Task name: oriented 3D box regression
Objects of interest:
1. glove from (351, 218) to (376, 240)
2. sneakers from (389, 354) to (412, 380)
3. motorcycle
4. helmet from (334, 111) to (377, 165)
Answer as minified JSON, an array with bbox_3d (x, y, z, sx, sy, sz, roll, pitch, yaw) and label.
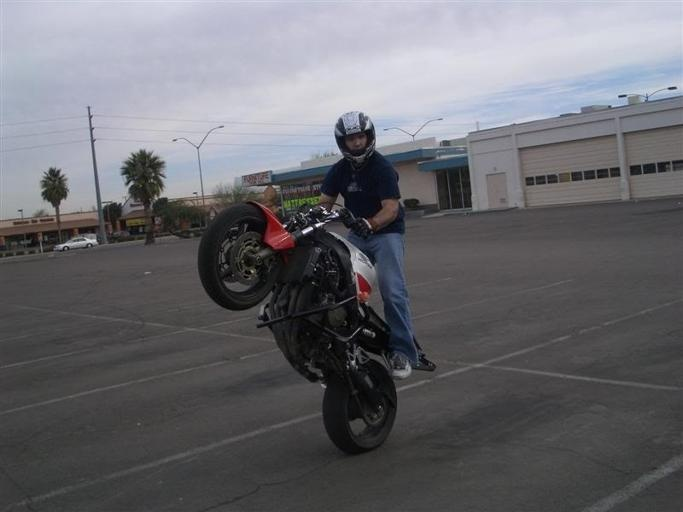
[{"bbox_3d":[0.157,-0.194,3.603,0.173,0.143,0.070,24,-32,-17],"label":"glove"},{"bbox_3d":[0.514,0.947,3.951,0.209,0.157,0.086,1,-39,-21],"label":"sneakers"},{"bbox_3d":[-0.219,0.544,3.412,1.523,1.903,0.412,-9,6,-38],"label":"motorcycle"},{"bbox_3d":[0.109,-1.028,4.011,0.319,0.395,0.405,-14,24,4],"label":"helmet"}]
